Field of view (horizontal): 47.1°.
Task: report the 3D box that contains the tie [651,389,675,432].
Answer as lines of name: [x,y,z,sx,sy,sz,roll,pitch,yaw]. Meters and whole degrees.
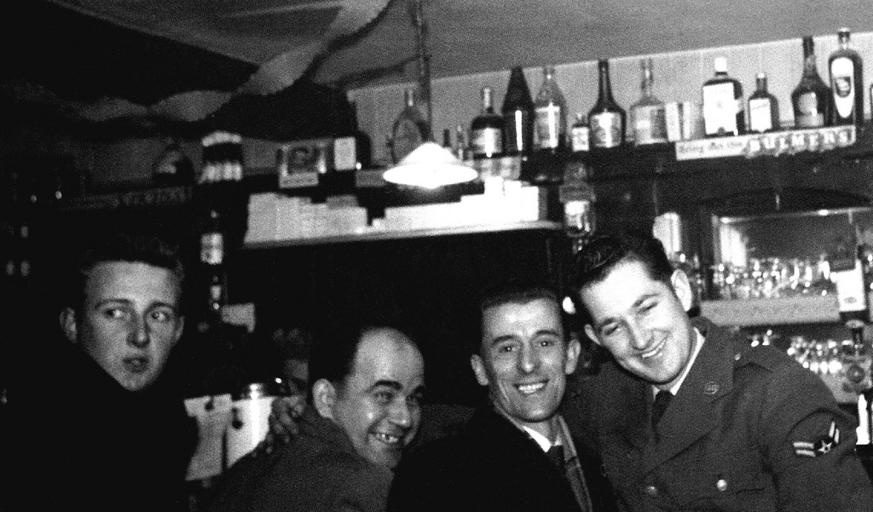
tie: [0.994,0.667,4.411,0.090,0.150,0.037,9,-1,37]

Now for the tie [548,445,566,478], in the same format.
tie: [0.542,0.908,4.448,0.115,0.120,0.030,-16,-5,26]
